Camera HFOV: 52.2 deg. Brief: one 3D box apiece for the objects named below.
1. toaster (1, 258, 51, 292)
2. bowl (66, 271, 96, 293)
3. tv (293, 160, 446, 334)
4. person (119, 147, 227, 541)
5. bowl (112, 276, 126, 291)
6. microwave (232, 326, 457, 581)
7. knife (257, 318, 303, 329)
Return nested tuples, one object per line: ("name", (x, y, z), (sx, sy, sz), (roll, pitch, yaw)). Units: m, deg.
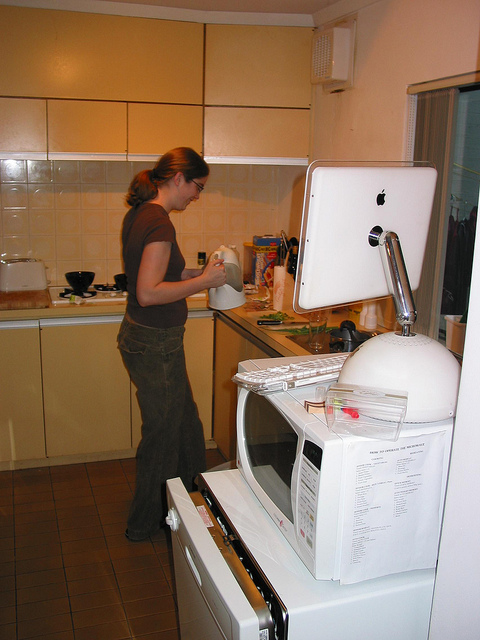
("toaster", (-1.170, -0.261, 2.675), (0.271, 0.169, 0.201), (-4, 21, -29))
("bowl", (-0.886, -0.216, 2.732), (0.119, 0.085, 0.120), (1, 11, 0))
("tv", (0.254, -0.119, 0.871), (0.319, 0.319, 0.146), (-11, 13, -28))
("person", (-0.267, 0.130, 2.046), (0.449, 1.644, 0.395), (-3, 12, -24))
("bowl", (-0.674, -0.209, 2.767), (0.075, 0.072, 0.081), (1, 3, 0))
("microwave", (0.163, 0.186, 0.868), (0.278, 0.376, 0.386), (-3, 12, -22))
("knife", (0.196, 0.019, 2.201), (0.280, 0.030, 0.066), (0, -8, -13))
